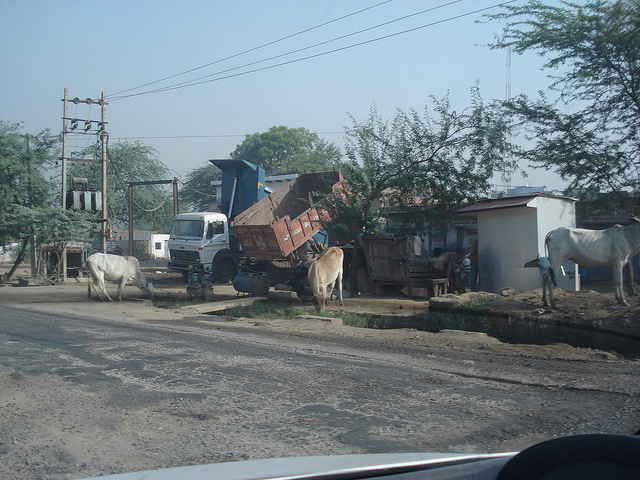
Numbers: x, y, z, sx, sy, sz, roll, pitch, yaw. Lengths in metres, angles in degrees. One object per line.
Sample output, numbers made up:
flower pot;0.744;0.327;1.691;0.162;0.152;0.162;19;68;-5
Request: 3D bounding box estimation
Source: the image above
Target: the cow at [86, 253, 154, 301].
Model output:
cow;-6.030;1.097;22.444;1.700;1.498;0.970;-8;16;-29
